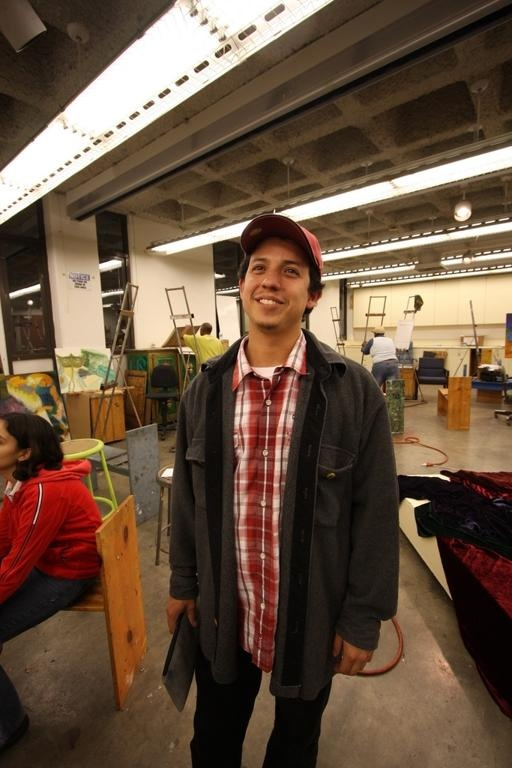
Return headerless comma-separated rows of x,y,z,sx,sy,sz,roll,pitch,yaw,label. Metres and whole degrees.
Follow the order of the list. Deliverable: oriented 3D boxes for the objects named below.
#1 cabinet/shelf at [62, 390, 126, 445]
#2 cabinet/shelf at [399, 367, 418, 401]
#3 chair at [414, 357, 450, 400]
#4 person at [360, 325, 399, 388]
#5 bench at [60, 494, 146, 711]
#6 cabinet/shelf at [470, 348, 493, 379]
-1.810,0.381,5.229,0.371,0.546,0.531,0,3,27,cabinet/shelf
2.848,-0.005,8.588,0.277,0.678,0.713,1,7,21,cabinet/shelf
3.343,-0.176,8.739,0.528,0.759,0.667,3,7,18,chair
1.690,-0.190,6.259,0.399,1.122,0.531,-3,1,-17,person
-0.675,0.832,1.844,0.352,0.677,0.315,-1,10,12,bench
4.239,-0.398,8.701,0.379,0.539,0.677,1,7,21,cabinet/shelf
